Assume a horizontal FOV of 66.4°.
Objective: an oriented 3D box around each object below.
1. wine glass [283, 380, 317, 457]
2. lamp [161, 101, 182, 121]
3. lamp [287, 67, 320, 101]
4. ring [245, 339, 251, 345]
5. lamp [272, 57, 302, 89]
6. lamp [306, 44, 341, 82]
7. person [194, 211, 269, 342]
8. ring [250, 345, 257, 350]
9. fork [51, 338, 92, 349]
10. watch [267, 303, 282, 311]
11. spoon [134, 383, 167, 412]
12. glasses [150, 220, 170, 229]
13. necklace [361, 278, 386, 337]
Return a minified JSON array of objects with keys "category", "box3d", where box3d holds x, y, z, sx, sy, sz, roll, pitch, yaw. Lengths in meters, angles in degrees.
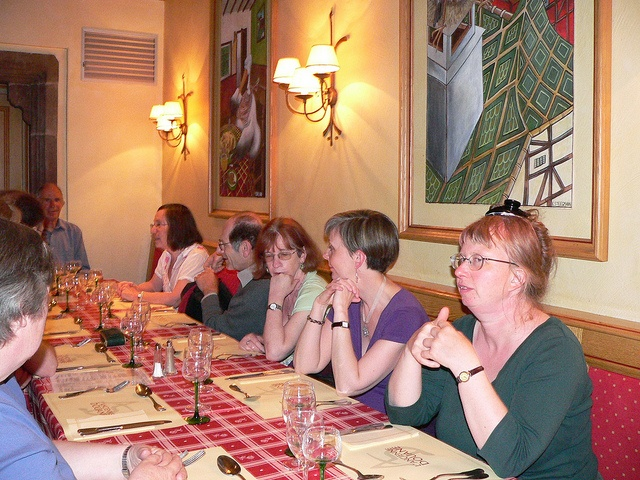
[{"category":"wine glass","box3d":[-0.050,0.538,1.473,0.096,0.234,0.094,-2,5,-5]},{"category":"lamp","box3d":[-1.812,-1.557,6.035,0.237,0.212,0.233,-8,12,-37]},{"category":"lamp","box3d":[-0.113,-1.147,3.567,0.208,0.205,0.220,-2,26,3]},{"category":"ring","box3d":[-0.371,0.540,2.549,0.015,0.017,0.013,-29,-32,19]},{"category":"lamp","box3d":[-0.253,-1.256,3.755,0.223,0.204,0.233,-6,9,-7]},{"category":"lamp","box3d":[0.003,-1.178,3.317,0.203,0.224,0.206,6,14,36]},{"category":"person","box3d":[-0.587,0.267,3.291,0.274,0.348,0.789,19,-24,-7]},{"category":"ring","box3d":[-0.340,0.560,2.524,0.026,0.016,0.008,6,-22,29]},{"category":"fork","box3d":[-1.314,0.556,2.604,0.215,0.036,0.025,-5,38,-2]},{"category":"watch","box3d":[-0.244,0.365,2.627,0.056,0.040,0.057,2,-33,-2]},{"category":"spoon","box3d":[-0.643,0.562,1.834,0.059,0.042,0.266,-8,9,-23]},{"category":"glasses","box3d":[-1.386,-0.124,4.293,0.134,0.042,0.127,2,-2,-44]},{"category":"necklace","box3d":[0.232,0.312,2.273,0.057,0.246,0.152,14,13,4]}]
